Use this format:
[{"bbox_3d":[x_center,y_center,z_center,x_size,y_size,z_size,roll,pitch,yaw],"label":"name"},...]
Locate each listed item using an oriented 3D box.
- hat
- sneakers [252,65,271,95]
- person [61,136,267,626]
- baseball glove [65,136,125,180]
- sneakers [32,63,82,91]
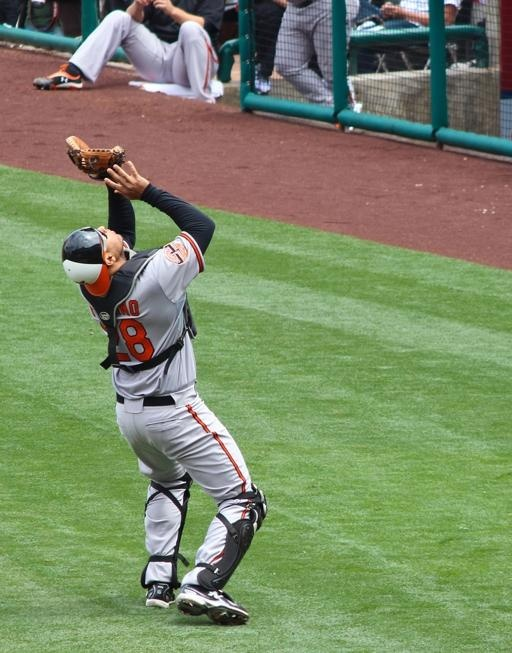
[{"bbox_3d":[-0.615,-0.237,6.013,0.162,0.236,0.183,6,7,-19],"label":"hat"},{"bbox_3d":[0.042,-2.132,14.291,0.103,0.269,0.110,-3,4,1],"label":"sneakers"},{"bbox_3d":[-0.363,0.197,6.077,1.047,1.641,0.556,14,9,39],"label":"person"},{"bbox_3d":[-0.626,-0.650,6.375,0.117,0.108,0.298,-43,37,-23],"label":"baseball glove"},{"bbox_3d":[-1.705,-2.206,14.639,0.563,0.281,0.181,2,7,-9],"label":"sneakers"}]
